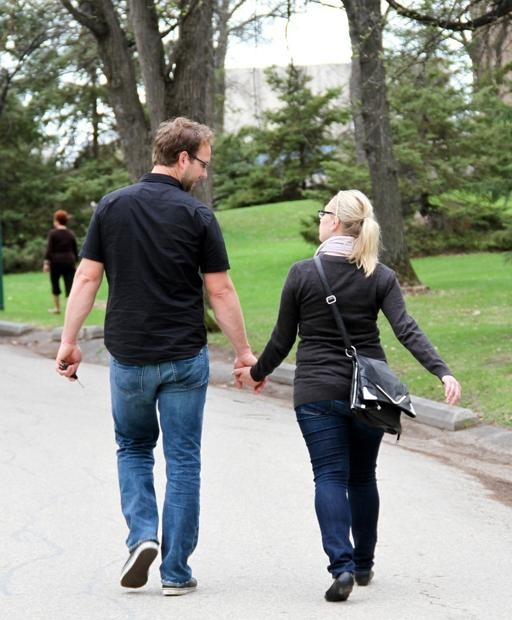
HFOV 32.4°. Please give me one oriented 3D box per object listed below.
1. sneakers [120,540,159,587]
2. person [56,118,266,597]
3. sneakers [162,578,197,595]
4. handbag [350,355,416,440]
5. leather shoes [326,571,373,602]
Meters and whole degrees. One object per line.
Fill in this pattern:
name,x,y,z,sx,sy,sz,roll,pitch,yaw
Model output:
sneakers,-0.528,1.169,4.015,0.169,0.261,0.091,8,8,43
person,-0.514,0.197,4.183,0.805,2.244,0.647,4,6,7
sneakers,-0.350,1.284,4.117,0.059,0.053,0.162,0,-1,39
handbag,0.579,0.400,4.123,0.308,0.382,0.238,2,6,-9
leather shoes,0.425,1.287,4.099,0.120,0.113,0.289,8,-27,-13
